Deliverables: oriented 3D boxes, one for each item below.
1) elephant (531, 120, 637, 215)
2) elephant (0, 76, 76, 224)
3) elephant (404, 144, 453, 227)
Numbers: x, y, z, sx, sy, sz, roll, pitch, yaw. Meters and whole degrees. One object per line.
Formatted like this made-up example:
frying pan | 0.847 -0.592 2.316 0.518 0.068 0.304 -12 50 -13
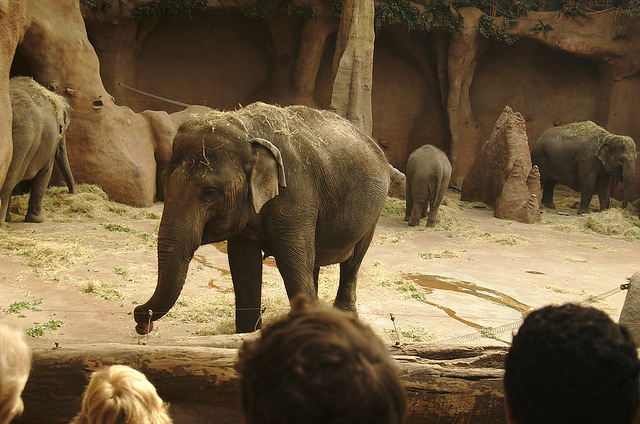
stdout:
elephant | 7.113 -1.202 23.377 0.966 1.722 2.858 4 5 -33
elephant | -5.687 -1.215 17.104 0.864 2.805 1.748 9 5 7
elephant | 2.478 -0.631 20.032 0.907 1.875 1.008 8 5 -1
